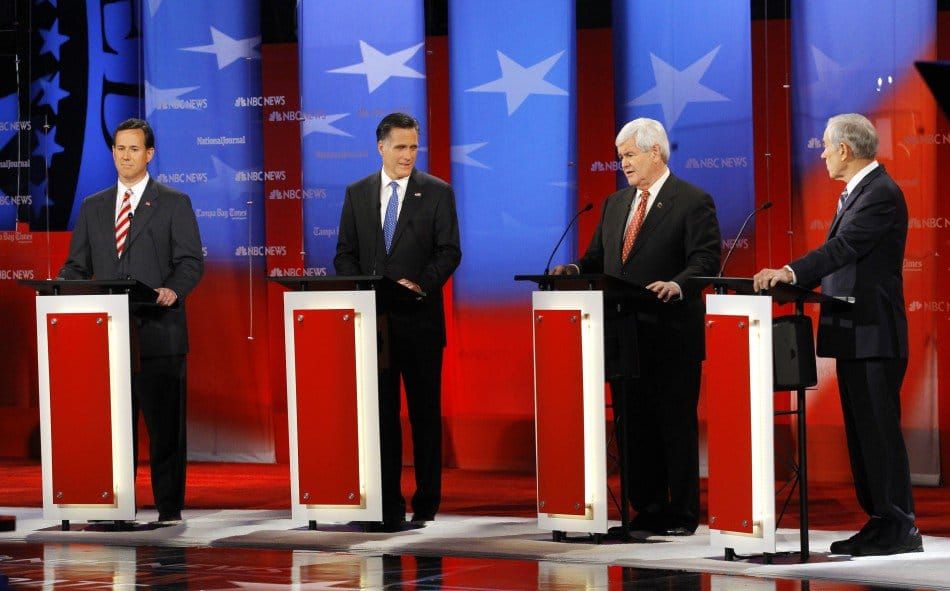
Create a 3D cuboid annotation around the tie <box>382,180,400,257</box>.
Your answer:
[{"bbox_3d":[-0.539,-0.471,6.764,0.073,0.474,0.052,1,-11,1],"label":"tie"}]

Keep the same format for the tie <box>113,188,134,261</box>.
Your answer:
[{"bbox_3d":[-2.239,-0.440,6.894,0.102,0.390,0.046,5,-11,-2],"label":"tie"}]

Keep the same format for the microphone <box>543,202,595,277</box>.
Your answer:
[{"bbox_3d":[0.633,-0.384,7.613,0.092,0.683,0.093,28,-32,12],"label":"microphone"}]

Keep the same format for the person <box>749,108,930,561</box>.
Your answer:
[{"bbox_3d":[2.121,0.216,6.140,0.700,2.453,0.415,-1,-5,5],"label":"person"}]

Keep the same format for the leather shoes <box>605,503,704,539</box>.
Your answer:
[{"bbox_3d":[1.034,1.375,6.518,0.395,0.091,0.221,-5,1,-19],"label":"leather shoes"}]

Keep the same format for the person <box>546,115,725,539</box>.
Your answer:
[{"bbox_3d":[1.067,0.196,6.545,0.801,2.466,0.622,-2,-5,6],"label":"person"}]

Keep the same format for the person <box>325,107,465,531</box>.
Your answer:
[{"bbox_3d":[-0.478,0.155,6.702,0.758,2.542,0.496,0,-5,-7],"label":"person"}]

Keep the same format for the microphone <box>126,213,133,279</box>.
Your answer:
[{"bbox_3d":[-2.195,-0.369,6.867,0.050,0.280,0.026,-4,-5,29],"label":"microphone"}]

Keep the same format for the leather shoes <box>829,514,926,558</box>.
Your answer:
[{"bbox_3d":[2.264,1.335,6.084,0.411,0.148,0.239,0,-5,2],"label":"leather shoes"}]

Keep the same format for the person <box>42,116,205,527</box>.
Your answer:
[{"bbox_3d":[-2.145,0.160,6.856,0.814,2.526,0.583,-1,-5,-4],"label":"person"}]
